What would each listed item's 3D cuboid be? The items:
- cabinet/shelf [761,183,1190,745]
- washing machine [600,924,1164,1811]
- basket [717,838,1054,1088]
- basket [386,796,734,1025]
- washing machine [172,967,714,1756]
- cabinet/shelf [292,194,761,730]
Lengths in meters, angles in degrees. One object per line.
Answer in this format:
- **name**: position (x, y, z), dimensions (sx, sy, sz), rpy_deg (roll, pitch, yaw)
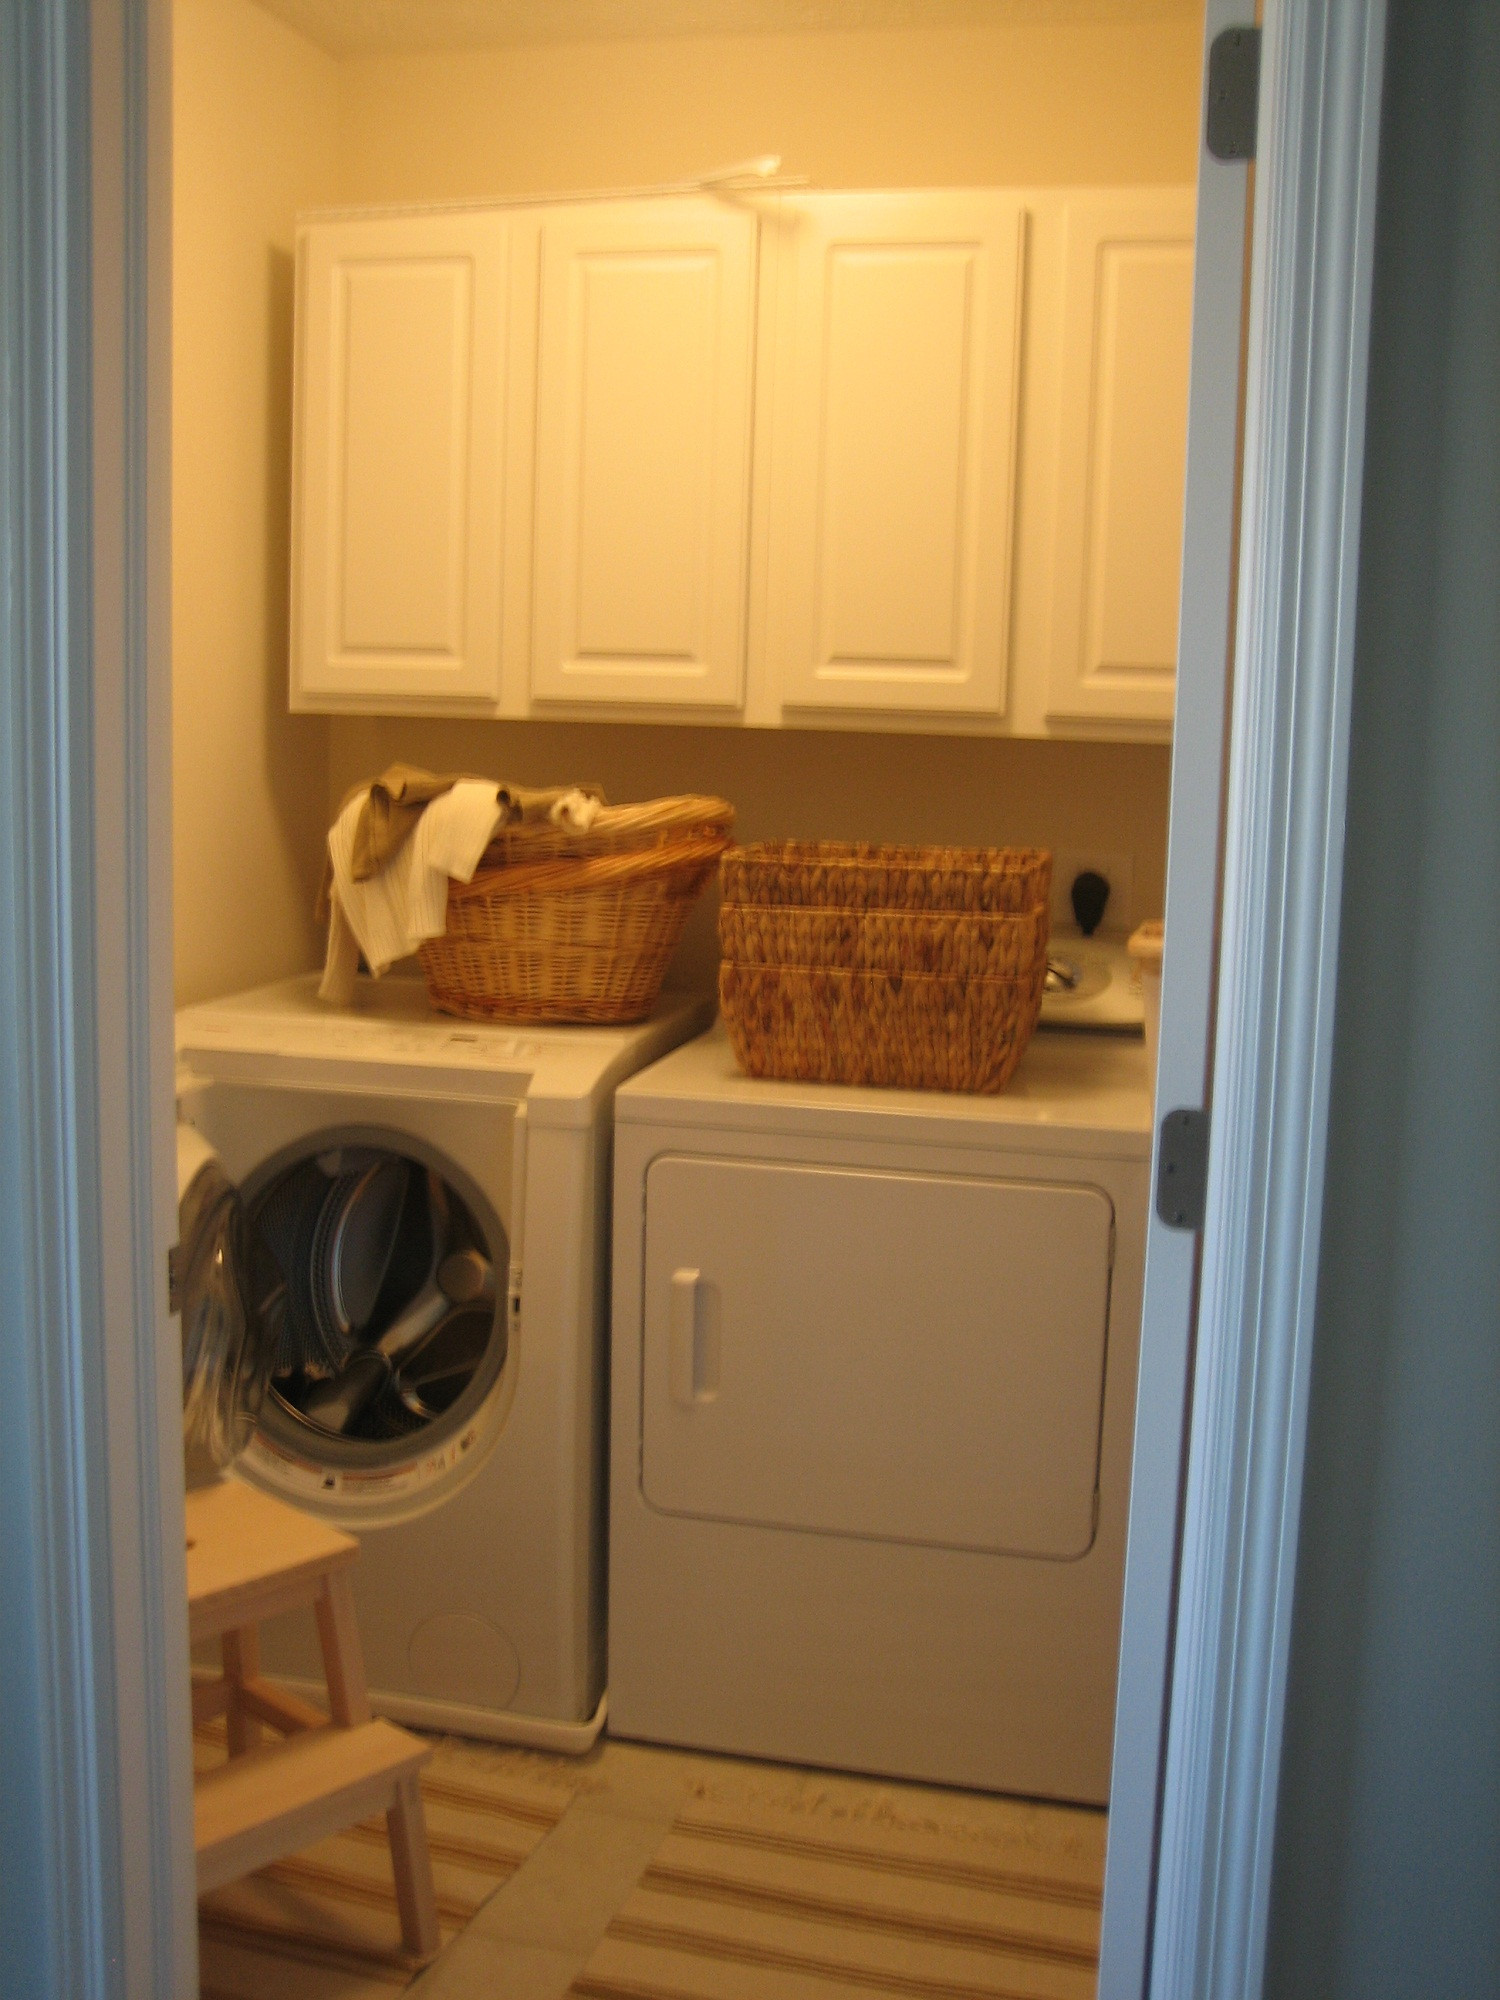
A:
- **cabinet/shelf**: position (0.387, -0.736, 2.369), dimensions (0.710, 0.733, 0.257), rpy_deg (6, 13, 19)
- **washing machine**: position (0.140, 0.478, 2.366), dimensions (0.713, 1.084, 0.758), rpy_deg (1, 5, 13)
- **basket**: position (0.158, -0.064, 2.150), dimensions (0.388, 0.288, 0.245), rpy_deg (2, 22, 5)
- **basket**: position (-0.246, -0.112, 2.313), dimensions (0.327, 0.236, 0.339), rpy_deg (0, 2, -2)
- **washing machine**: position (-0.352, 0.435, 2.470), dimensions (0.759, 1.140, 0.785), rpy_deg (1, 3, 13)
- **cabinet/shelf**: position (-0.309, -0.758, 2.521), dimensions (0.709, 0.727, 0.277), rpy_deg (2, 2, 6)
